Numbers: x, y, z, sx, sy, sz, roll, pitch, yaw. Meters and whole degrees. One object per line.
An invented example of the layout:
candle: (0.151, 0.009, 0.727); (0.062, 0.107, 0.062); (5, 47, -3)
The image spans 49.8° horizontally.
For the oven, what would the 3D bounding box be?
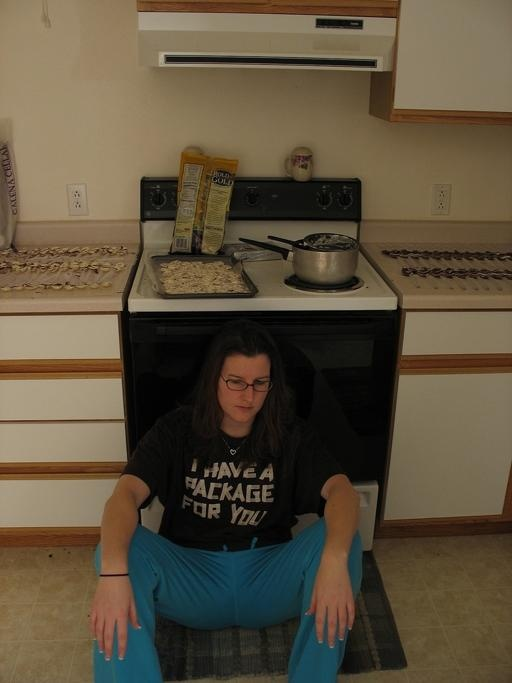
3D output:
oven: (0.059, 0.285, 1.928); (0.912, 0.837, 0.577); (-1, 14, -3)

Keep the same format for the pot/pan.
pot/pan: (0.132, -0.271, 1.662); (0.319, 0.126, 0.180); (13, 25, 31)

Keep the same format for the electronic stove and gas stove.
electronic stove and gas stove: (0.002, -0.257, 1.766); (0.779, 0.255, 0.587); (0, 12, -6)

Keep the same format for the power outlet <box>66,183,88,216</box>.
power outlet: (-0.648, -0.513, 2.012); (0.071, 0.115, 0.028); (-2, 13, -15)

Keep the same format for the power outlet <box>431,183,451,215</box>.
power outlet: (0.702, -0.540, 2.103); (0.077, 0.113, 0.021); (-2, 13, -14)

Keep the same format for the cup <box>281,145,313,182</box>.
cup: (0.142, -0.629, 1.970); (0.117, 0.117, 0.089); (7, 13, 24)

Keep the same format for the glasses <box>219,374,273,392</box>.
glasses: (-0.014, 0.096, 1.246); (0.119, 0.037, 0.038); (-3, 13, -20)
